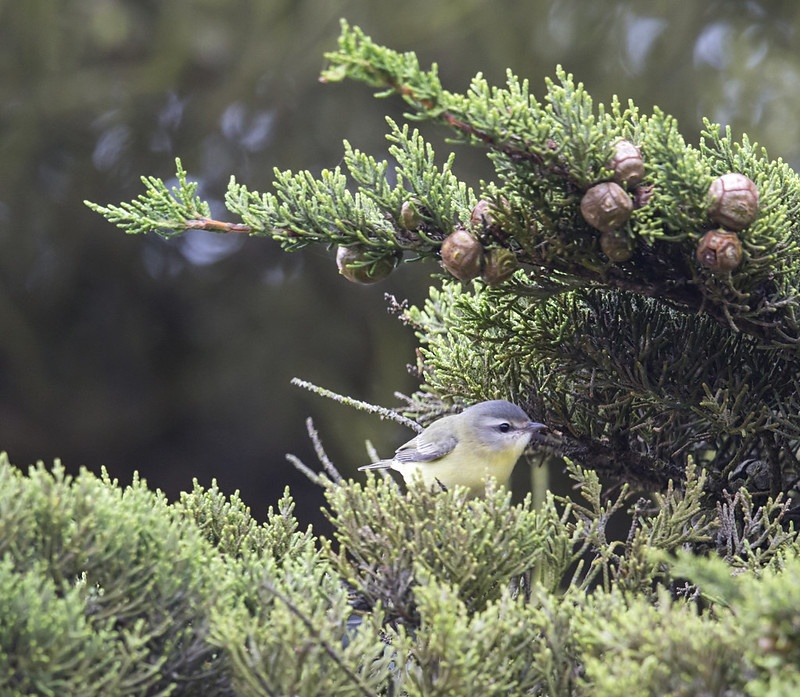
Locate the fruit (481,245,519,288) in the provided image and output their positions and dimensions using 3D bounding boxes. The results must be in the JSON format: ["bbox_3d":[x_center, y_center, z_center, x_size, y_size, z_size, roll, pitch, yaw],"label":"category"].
[{"bbox_3d":[0.227,-0.177,2.616,0.077,0.073,0.108,-6,-5,25],"label":"fruit"}]

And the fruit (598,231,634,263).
[{"bbox_3d":[0.467,-0.217,2.580,0.065,0.058,0.103,-5,-4,10],"label":"fruit"}]

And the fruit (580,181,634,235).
[{"bbox_3d":[0.431,-0.285,2.482,0.089,0.101,0.054,-4,-5,4],"label":"fruit"}]

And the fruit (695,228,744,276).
[{"bbox_3d":[0.673,-0.204,2.515,0.078,0.099,0.072,1,6,5],"label":"fruit"}]

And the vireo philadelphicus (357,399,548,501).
[{"bbox_3d":[0.108,0.235,3.083,0.545,0.285,0.212,8,19,33],"label":"vireo philadelphicus"}]

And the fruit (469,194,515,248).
[{"bbox_3d":[0.198,-0.275,2.609,0.065,0.105,0.067,0,-5,-40],"label":"fruit"}]

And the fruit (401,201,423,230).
[{"bbox_3d":[0.024,-0.290,2.618,0.047,0.065,0.036,-3,-4,-1],"label":"fruit"}]

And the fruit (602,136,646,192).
[{"bbox_3d":[0.494,-0.390,2.547,0.115,0.104,0.043,0,-5,-44],"label":"fruit"}]

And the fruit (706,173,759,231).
[{"bbox_3d":[0.707,-0.316,2.589,0.096,0.127,0.116,1,24,7],"label":"fruit"}]
